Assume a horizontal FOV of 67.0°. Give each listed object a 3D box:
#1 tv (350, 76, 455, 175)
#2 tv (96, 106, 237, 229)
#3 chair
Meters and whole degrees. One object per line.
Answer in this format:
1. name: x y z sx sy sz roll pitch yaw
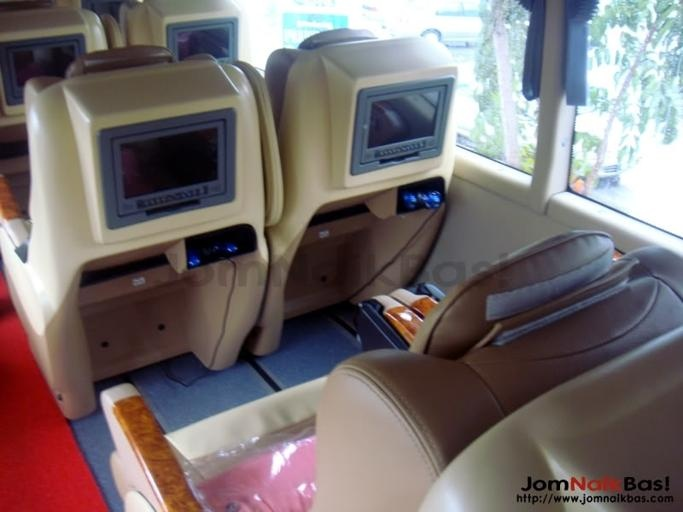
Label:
1. tv: 0.270 -0.625 2.416 0.407 0.335 0.069 -14 42 -26
2. tv: -0.687 -0.355 1.981 0.396 0.323 0.054 -18 36 -28
3. chair: -0.069 -0.062 2.017 1.283 1.215 2.173 -17 36 -26
